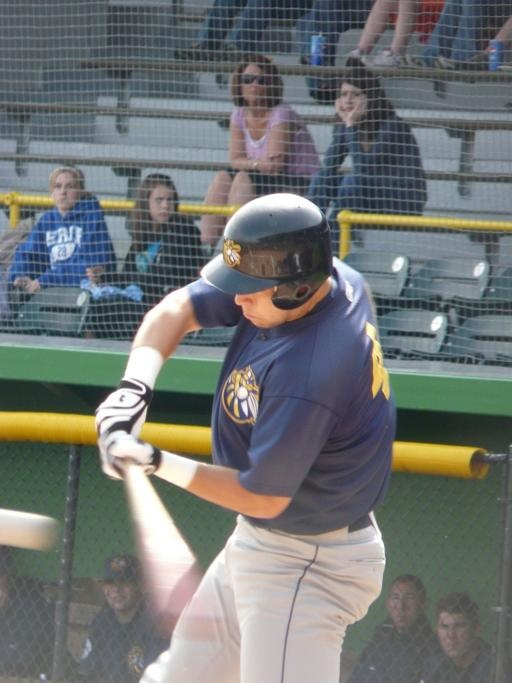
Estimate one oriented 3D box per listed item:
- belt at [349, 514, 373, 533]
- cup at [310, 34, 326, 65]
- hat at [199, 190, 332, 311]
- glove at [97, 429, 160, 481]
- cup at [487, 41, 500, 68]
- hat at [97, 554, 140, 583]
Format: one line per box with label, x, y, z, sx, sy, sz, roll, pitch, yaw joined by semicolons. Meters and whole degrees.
belt;0.282;0.496;3.083;0.052;0.043;0.041;-14;12;-17
cup;0.246;-1.188;4.603;0.089;0.152;0.101;0;0;0
hat;0.031;-0.261;2.993;0.363;0.282;0.265;-8;28;-11
glove;-0.309;0.280;2.793;0.153;0.117;0.090;1;13;-7
cup;0.961;-1.179;4.634;0.032;0.106;0.060;5;23;11
hat;-0.513;0.872;4.363;0.115;0.112;0.027;-4;-10;17
